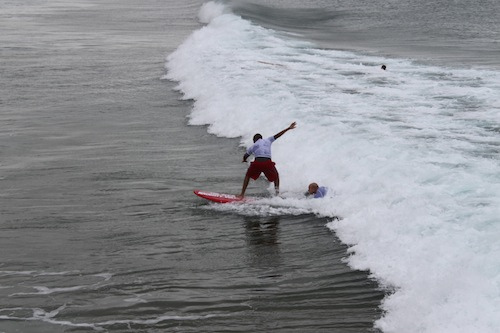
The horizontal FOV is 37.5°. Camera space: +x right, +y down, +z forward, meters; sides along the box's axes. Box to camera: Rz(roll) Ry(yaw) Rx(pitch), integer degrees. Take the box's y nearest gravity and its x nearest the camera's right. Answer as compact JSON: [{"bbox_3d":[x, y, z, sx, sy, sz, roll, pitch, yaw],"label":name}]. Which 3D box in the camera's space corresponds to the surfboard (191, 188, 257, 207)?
[{"bbox_3d":[-0.854,0.944,21.917,2.308,0.235,0.548,5,28,-4],"label":"surfboard"}]

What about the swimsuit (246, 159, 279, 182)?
[{"bbox_3d":[0.300,0.148,22.293,1.267,0.649,0.422,1,-2,-29],"label":"swimsuit"}]

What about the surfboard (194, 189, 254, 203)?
[{"bbox_3d":[-0.606,0.920,21.913,2.050,0.208,0.506,5,19,0],"label":"surfboard"}]
